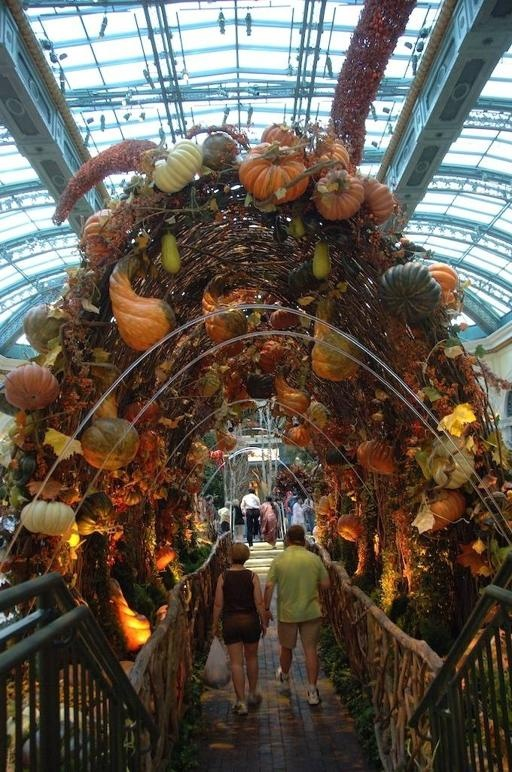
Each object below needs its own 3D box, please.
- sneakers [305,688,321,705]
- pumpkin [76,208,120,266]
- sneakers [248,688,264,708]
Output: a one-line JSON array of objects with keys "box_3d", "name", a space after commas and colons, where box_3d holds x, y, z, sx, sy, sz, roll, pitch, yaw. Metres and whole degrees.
[{"box_3d": [0.483, 2.579, 3.819, 0.091, 0.092, 0.198, 1, -4, -2], "name": "sneakers"}, {"box_3d": [-0.892, -0.844, 2.662, 0.199, 0.258, 0.332, -10, -40, -31], "name": "pumpkin"}, {"box_3d": [-0.003, 2.665, 3.894, 0.063, 0.080, 0.187, 1, 3, 4], "name": "sneakers"}]
